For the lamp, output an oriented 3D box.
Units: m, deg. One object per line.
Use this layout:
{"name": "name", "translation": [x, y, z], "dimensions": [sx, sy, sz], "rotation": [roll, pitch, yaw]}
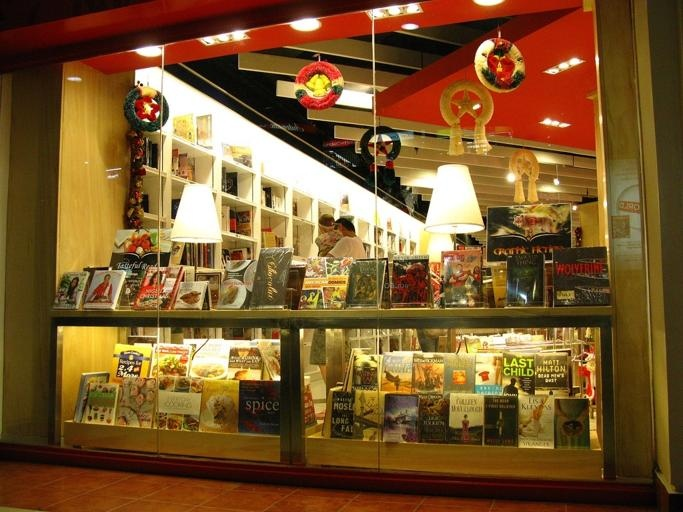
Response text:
{"name": "lamp", "translation": [0.850, -0.380, 4.110], "dimensions": [0.431, 0.463, 0.432], "rotation": [-4, 4, -43]}
